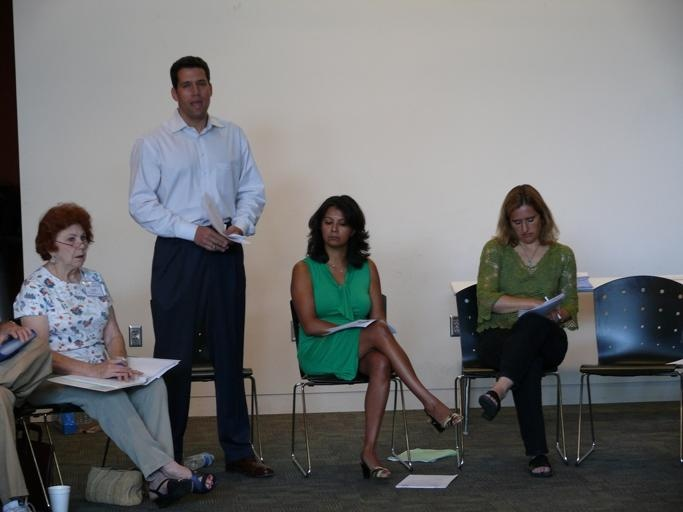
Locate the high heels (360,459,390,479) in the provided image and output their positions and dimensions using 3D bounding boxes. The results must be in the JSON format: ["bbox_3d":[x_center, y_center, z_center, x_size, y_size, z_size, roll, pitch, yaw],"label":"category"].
[{"bbox_3d":[0.190,1.174,3.193,0.163,0.111,0.232,-1,-3,4],"label":"high heels"}]

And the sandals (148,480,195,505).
[{"bbox_3d":[-0.811,1.118,2.748,0.182,0.072,0.064,-28,28,16],"label":"sandals"}]

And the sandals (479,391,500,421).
[{"bbox_3d":[0.798,0.811,3.114,0.098,0.175,0.182,-1,-2,19],"label":"sandals"}]

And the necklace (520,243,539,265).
[{"bbox_3d":[1.200,-0.008,3.711,0.095,0.150,0.041,-7,-7,1],"label":"necklace"}]

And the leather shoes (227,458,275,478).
[{"bbox_3d":[-0.505,1.193,3.305,0.292,0.144,0.109,-4,-6,31],"label":"leather shoes"}]

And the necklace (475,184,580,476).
[{"bbox_3d":[1.074,0.388,3.494,0.579,1.683,0.974,-1,-2,28],"label":"necklace"}]

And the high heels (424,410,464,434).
[{"bbox_3d":[0.513,0.908,3.170,0.292,0.120,0.105,-10,-6,40],"label":"high heels"}]

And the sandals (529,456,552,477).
[{"bbox_3d":[1.093,1.151,3.171,0.066,0.066,0.149,-1,-10,-1],"label":"sandals"}]

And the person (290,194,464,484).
[{"bbox_3d":[0.103,0.435,3.373,0.490,1.606,0.928,0,-2,-42],"label":"person"}]

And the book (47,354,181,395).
[{"bbox_3d":[-1.117,0.599,2.864,0.556,0.142,0.299,1,-4,-42],"label":"book"}]
